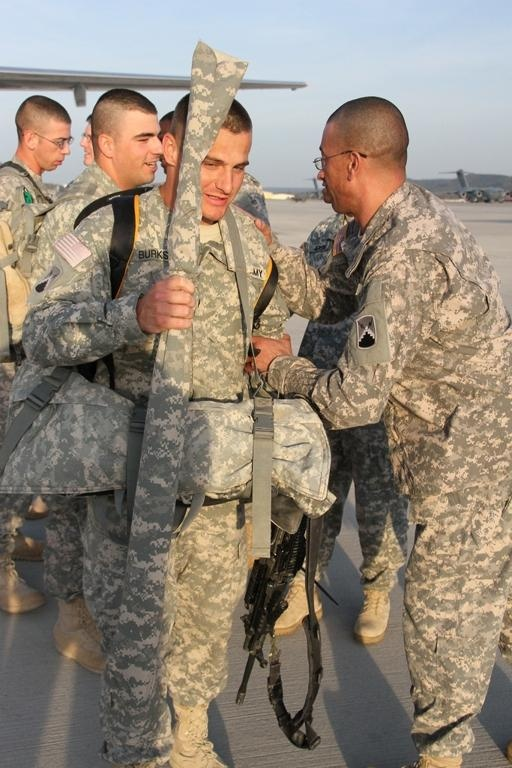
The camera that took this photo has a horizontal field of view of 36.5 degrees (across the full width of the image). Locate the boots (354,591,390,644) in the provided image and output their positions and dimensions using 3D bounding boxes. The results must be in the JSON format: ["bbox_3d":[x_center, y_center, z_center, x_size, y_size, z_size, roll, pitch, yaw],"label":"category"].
[{"bbox_3d":[0.534,1.068,3.558,0.108,0.103,0.292,4,15,11],"label":"boots"}]

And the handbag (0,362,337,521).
[{"bbox_3d":[-0.195,0.111,2.050,0.657,0.212,0.479,1,6,-15],"label":"handbag"}]
